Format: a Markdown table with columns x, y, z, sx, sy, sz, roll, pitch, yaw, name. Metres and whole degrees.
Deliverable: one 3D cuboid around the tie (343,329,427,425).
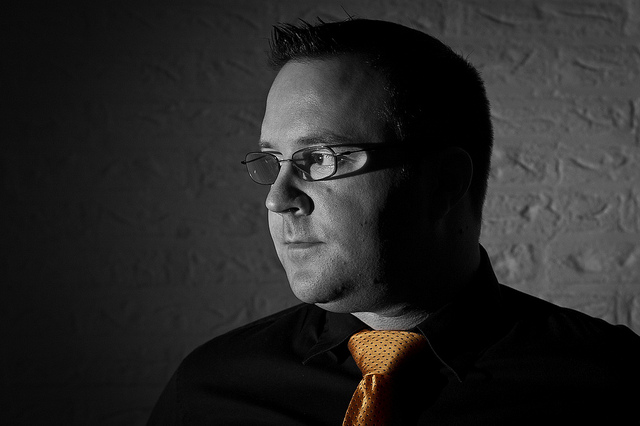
| x | y | z | sx | sy | sz | roll | pitch | yaw | name |
| --- | --- | --- | --- | --- | --- | --- | --- | --- | --- |
| 0.196 | 0.494 | 2.138 | 0.249 | 0.299 | 0.113 | 8 | -18 | 4 | tie |
